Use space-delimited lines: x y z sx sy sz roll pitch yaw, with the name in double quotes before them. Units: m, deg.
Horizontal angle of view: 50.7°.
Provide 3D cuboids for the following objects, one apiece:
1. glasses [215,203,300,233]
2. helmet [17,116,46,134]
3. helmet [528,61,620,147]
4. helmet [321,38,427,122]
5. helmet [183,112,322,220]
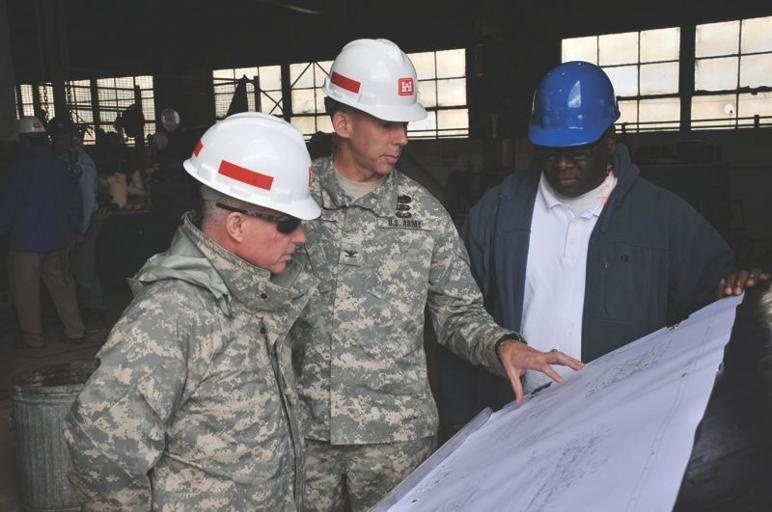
"glasses" -0.681 -0.210 4.514 0.263 0.072 0.230 20 2 -15
"helmet" -4.152 -1.521 9.489 0.271 0.142 0.221 -2 0 11
"helmet" 1.223 -0.984 5.251 0.472 0.330 0.618 15 47 44
"helmet" -0.058 -1.096 5.097 0.581 0.371 0.482 23 27 31
"helmet" -0.721 -0.427 4.552 0.664 0.381 0.558 14 19 2
